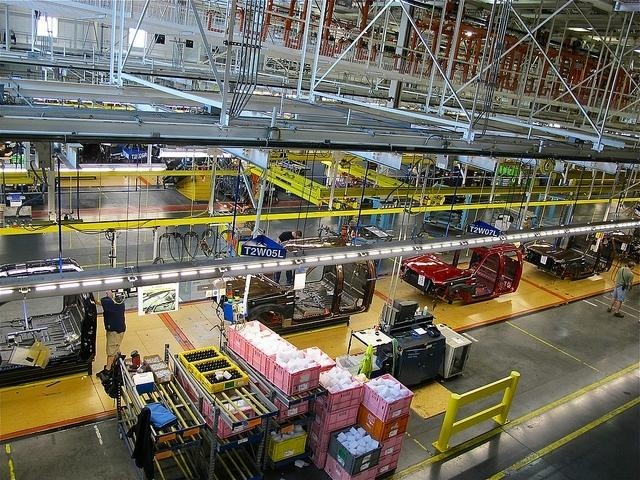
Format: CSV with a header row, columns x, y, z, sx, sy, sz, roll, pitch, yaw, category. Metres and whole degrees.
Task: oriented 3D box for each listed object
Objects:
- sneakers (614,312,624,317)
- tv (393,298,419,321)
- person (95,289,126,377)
x,y,z,sx,sy,sz,roll,pitch,yaw,category
9.546,2.398,15.038,0.224,0.144,0.075,-8,35,-6,sneakers
1.955,1.630,10.787,0.654,0.511,0.209,-5,14,-23,tv
-4.214,1.853,9.575,0.467,1.601,0.583,1,13,5,person
